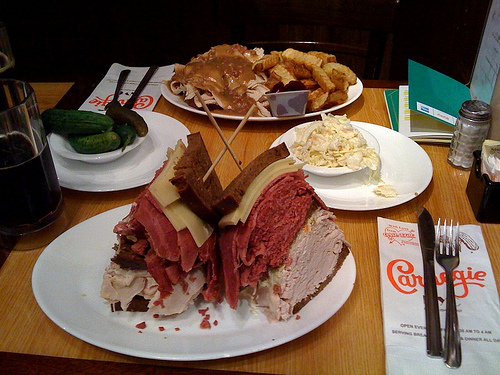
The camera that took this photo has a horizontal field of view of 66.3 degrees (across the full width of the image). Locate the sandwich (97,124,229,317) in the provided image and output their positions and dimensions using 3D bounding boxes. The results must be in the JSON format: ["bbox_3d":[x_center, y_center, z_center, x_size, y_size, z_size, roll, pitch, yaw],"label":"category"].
[{"bbox_3d":[-0.204,0.112,1.020,0.351,0.513,0.178,3,3,-3],"label":"sandwich"}]

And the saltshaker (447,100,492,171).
[{"bbox_3d":[0.732,-0.175,1.283,0.122,0.199,0.116,-35,52,-29],"label":"saltshaker"}]

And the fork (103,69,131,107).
[{"bbox_3d":[-0.591,-0.460,1.733,0.074,0.010,0.262,13,43,-11],"label":"fork"}]

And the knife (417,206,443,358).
[{"bbox_3d":[0.452,0.218,0.956,0.059,0.028,0.539,14,45,13],"label":"knife"}]

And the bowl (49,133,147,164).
[{"bbox_3d":[-0.548,-0.127,1.308,0.157,0.041,0.164,1,35,0],"label":"bowl"}]

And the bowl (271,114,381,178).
[{"bbox_3d":[0.277,-0.135,1.263,0.250,0.116,0.262,-1,41,1],"label":"bowl"}]

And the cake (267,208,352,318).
[{"bbox_3d":[0.110,0.169,0.958,0.070,0.195,0.238,22,61,40],"label":"cake"}]
